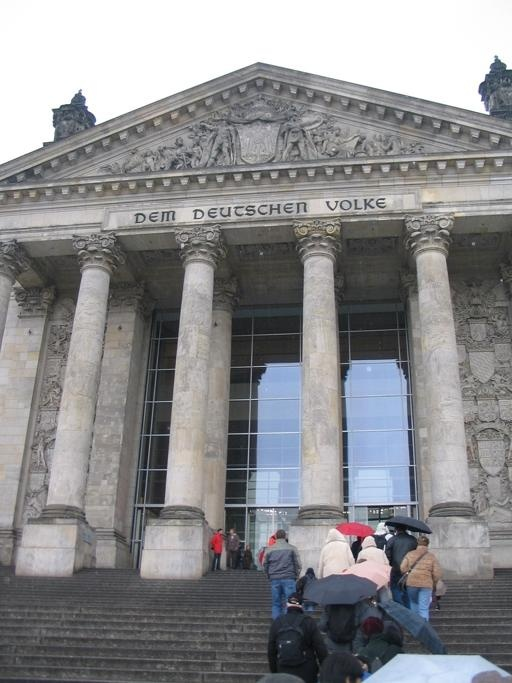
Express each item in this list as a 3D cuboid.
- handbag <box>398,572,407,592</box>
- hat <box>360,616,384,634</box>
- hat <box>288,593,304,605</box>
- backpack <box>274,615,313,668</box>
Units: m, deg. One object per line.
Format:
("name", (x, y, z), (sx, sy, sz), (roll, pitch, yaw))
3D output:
("handbag", (2.267, 3.704, 10.615), (0.169, 0.277, 0.225), (10, -16, 5))
("hat", (0.994, 2.434, 5.862), (0.184, 0.156, 0.247), (-4, -26, 9))
("hat", (0.404, 2.632, 6.986), (0.128, 0.131, 0.148), (7, -40, -8))
("backpack", (0.372, 2.895, 6.621), (0.456, 0.554, 0.312), (-6, -44, 11))
